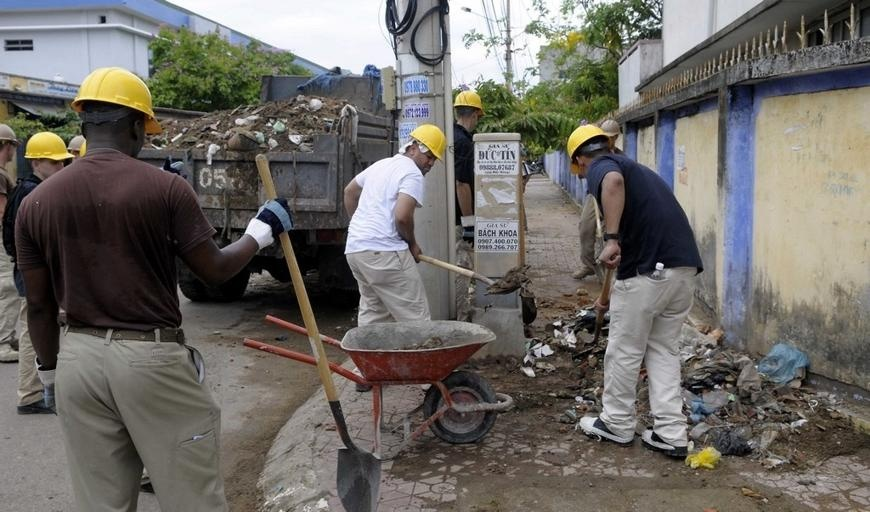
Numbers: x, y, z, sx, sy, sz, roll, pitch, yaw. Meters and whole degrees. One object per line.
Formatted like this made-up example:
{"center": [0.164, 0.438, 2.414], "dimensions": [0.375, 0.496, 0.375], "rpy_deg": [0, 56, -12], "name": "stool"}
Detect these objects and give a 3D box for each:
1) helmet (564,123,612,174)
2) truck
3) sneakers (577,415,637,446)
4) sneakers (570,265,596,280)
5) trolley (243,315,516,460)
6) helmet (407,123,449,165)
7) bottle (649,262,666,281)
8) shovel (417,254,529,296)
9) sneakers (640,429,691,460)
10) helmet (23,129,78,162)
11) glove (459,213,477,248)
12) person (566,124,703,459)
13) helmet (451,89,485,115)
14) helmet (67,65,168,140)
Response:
{"center": [1.405, -1.116, 6.824], "dimensions": [0.406, 0.303, 0.540], "rpy_deg": [-21, -33, -3], "name": "helmet"}
{"center": [-1.968, -1.388, 11.543], "dimensions": [2.751, 2.546, 4.252], "rpy_deg": [1, 8, 14], "name": "truck"}
{"center": [1.554, 1.608, 6.582], "dimensions": [0.550, 0.214, 0.208], "rpy_deg": [20, -16, 31], "name": "sneakers"}
{"center": [2.403, 0.278, 11.394], "dimensions": [0.467, 0.188, 0.152], "rpy_deg": [1, 12, -10], "name": "sneakers"}
{"center": [-0.489, 1.143, 6.416], "dimensions": [2.461, 1.188, 1.217], "rpy_deg": [1, 3, -8], "name": "trolley"}
{"center": [-0.048, -1.194, 7.316], "dimensions": [0.423, 0.245, 0.342], "rpy_deg": [32, 9, -7], "name": "helmet"}
{"center": [1.954, 0.136, 6.268], "dimensions": [0.113, 0.148, 0.143], "rpy_deg": [3, -13, -3], "name": "bottle"}
{"center": [0.483, 0.183, 7.767], "dimensions": [0.959, 0.225, 0.524], "rpy_deg": [23, -10, 7], "name": "shovel"}
{"center": [2.022, 1.697, 6.303], "dimensions": [0.185, 0.202, 0.418], "rpy_deg": [-4, 18, -30], "name": "sneakers"}
{"center": [-4.331, -1.239, 7.884], "dimensions": [0.409, 0.212, 0.333], "rpy_deg": [0, 10, 12], "name": "helmet"}
{"center": [0.398, -0.307, 8.612], "dimensions": [0.139, 0.383, 0.281], "rpy_deg": [0, 6, 3], "name": "glove"}
{"center": [1.816, 0.280, 6.391], "dimensions": [1.097, 2.982, 0.549], "rpy_deg": [2, 7, 17], "name": "person"}
{"center": [0.474, -2.061, 9.280], "dimensions": [0.285, 0.195, 0.361], "rpy_deg": [5, 10, 23], "name": "helmet"}
{"center": [-2.239, -1.168, 5.055], "dimensions": [0.461, 0.301, 0.573], "rpy_deg": [-2, -13, 20], "name": "helmet"}
